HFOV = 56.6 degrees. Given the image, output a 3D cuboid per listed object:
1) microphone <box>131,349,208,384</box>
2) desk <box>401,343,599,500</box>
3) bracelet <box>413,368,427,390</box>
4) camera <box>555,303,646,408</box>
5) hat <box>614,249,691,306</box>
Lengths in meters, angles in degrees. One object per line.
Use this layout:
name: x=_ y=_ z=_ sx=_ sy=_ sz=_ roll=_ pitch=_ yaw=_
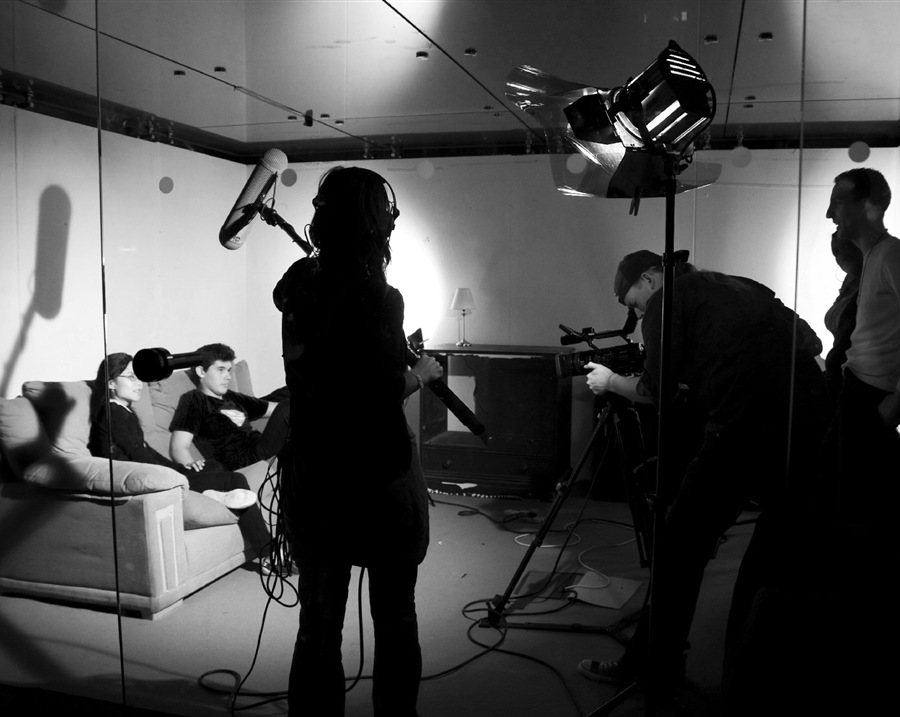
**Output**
microphone: x=-0.764 y=0.014 z=2.239 sx=0.085 sy=0.086 sz=0.234 roll=-16 pitch=-5 yaw=26
desk: x=0.106 y=0.154 z=2.208 sx=0.367 sy=0.375 sz=0.217 roll=2 pitch=12 yaw=23
bracelet: x=-0.078 y=0.055 z=2.056 sx=0.013 sy=0.039 sz=0.028 roll=-4 pitch=2 yaw=-35
camera: x=0.383 y=-0.027 z=2.081 sx=0.248 sy=0.072 sz=0.260 roll=-5 pitch=-33 yaw=1
hat: x=0.496 y=-0.239 z=2.083 sx=0.167 sy=0.085 sz=0.091 roll=-25 pitch=-10 yaw=41
